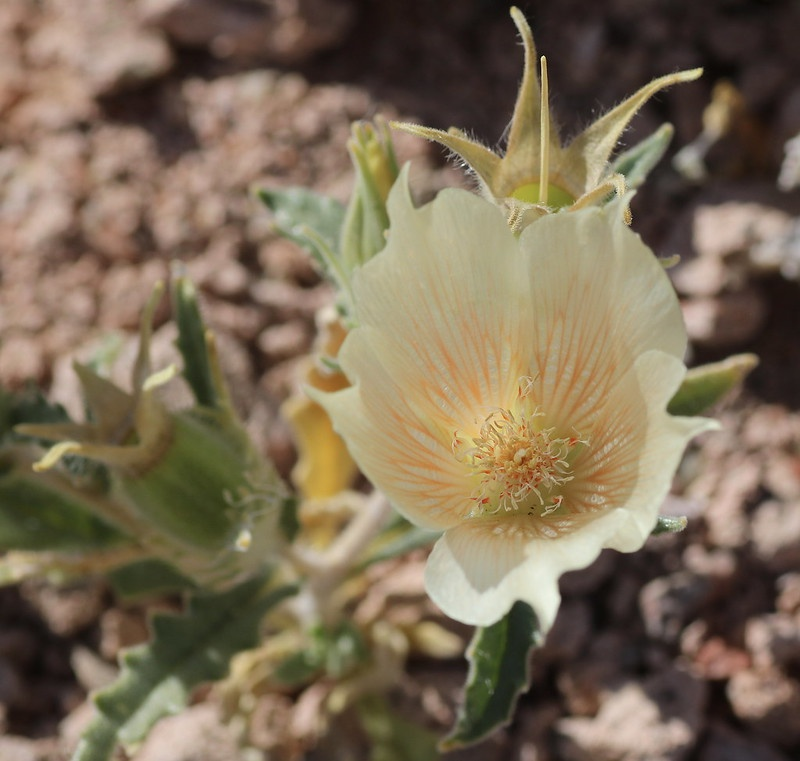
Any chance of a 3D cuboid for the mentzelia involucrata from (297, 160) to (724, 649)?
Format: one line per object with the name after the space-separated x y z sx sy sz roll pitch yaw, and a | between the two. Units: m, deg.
0.129 0.028 1.217 0.431 0.231 0.488 11 85 6 | mentzelia involucrata
